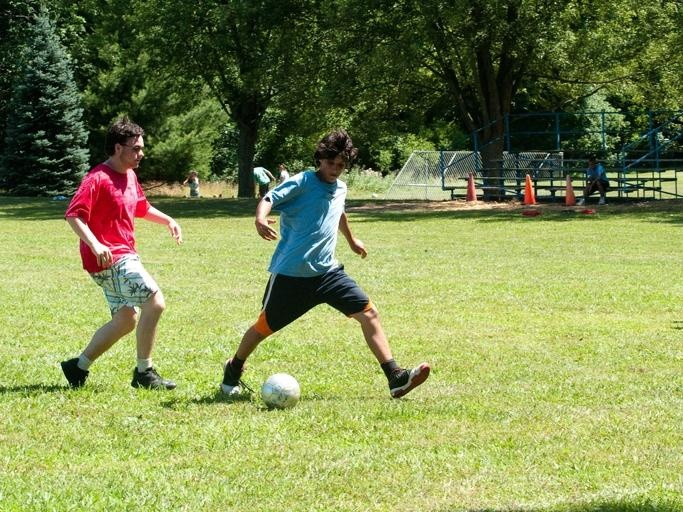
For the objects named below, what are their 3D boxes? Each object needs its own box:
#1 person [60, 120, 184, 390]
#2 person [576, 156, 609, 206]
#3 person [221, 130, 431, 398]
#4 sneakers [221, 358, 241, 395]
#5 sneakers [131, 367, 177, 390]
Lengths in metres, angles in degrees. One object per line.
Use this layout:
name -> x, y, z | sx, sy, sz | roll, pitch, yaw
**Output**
person -> -1.834, 0.011, 6.550 | 0.857, 2.268, 0.501 | -2, 7, -19
person -> 8.389, -2.476, 26.402 | 0.909, 1.490, 1.990 | 2, 7, 18
person -> -0.211, 0.234, 6.592 | 1.548, 1.887, 0.523 | 0, 6, -8
sneakers -> -0.916, 1.033, 6.749 | 0.157, 0.354, 0.122 | -7, -5, 21
sneakers -> -1.597, 1.046, 6.860 | 0.356, 0.147, 0.176 | 4, 2, -7
